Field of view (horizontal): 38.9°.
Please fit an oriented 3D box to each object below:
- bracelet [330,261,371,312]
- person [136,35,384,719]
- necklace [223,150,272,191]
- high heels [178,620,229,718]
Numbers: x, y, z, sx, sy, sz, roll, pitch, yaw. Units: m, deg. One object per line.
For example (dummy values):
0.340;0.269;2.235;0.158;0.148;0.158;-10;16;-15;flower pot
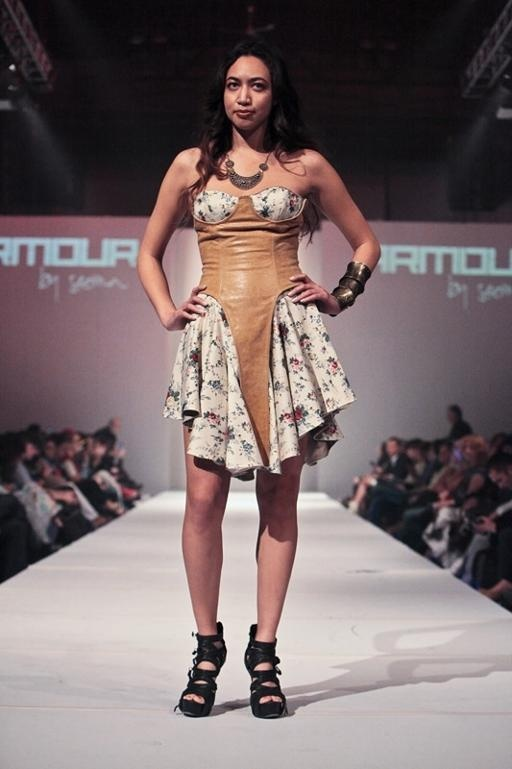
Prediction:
0.208;-0.236;1.698;0.082;0.132;0.066;23;-25;25;bracelet
-0.040;-0.036;1.530;0.523;1.375;0.506;7;5;8;person
-0.017;-0.441;1.503;0.122;0.121;0.020;0;-30;3;necklace
-0.093;0.559;1.405;0.056;0.069;0.179;-1;4;4;high heels
